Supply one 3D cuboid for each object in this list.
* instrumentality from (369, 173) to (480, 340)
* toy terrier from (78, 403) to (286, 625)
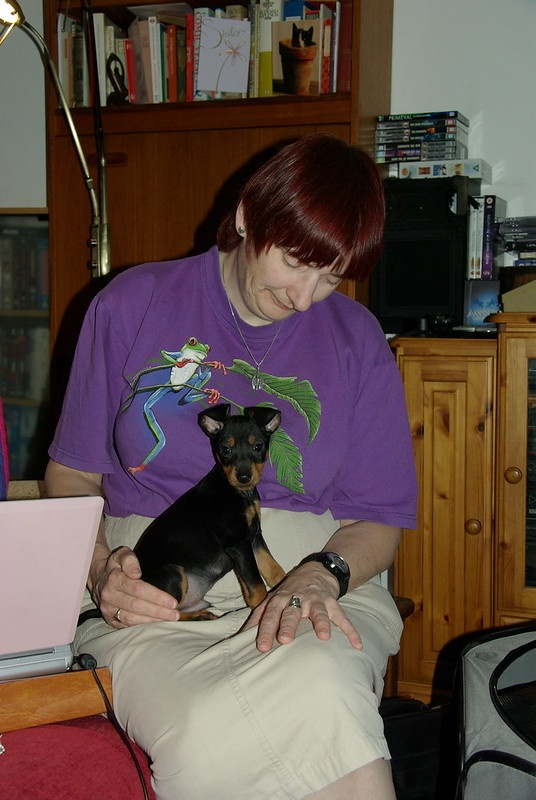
[{"bbox_3d":[0.443,-0.432,1.914,0.299,0.384,0.288,-17,30,-19],"label":"instrumentality"},{"bbox_3d":[-0.085,0.178,0.963,0.360,0.365,0.209,-3,-19,-2],"label":"toy terrier"}]
